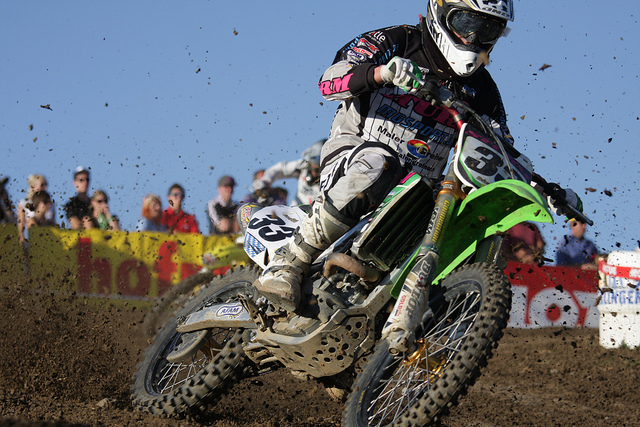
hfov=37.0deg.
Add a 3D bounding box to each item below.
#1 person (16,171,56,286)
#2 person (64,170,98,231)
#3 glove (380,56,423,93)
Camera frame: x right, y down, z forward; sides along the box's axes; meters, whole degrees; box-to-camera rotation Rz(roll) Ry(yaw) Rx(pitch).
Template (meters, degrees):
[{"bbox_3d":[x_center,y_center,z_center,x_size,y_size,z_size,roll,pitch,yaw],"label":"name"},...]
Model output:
[{"bbox_3d":[-4.409,0.142,14.615,0.351,1.600,0.862,-4,15,-24],"label":"person"},{"bbox_3d":[-3.616,-0.178,14.547,0.480,1.095,0.701,-3,15,-24],"label":"person"},{"bbox_3d":[0.802,-1.358,9.319,0.426,0.314,0.166,7,14,12],"label":"glove"}]
